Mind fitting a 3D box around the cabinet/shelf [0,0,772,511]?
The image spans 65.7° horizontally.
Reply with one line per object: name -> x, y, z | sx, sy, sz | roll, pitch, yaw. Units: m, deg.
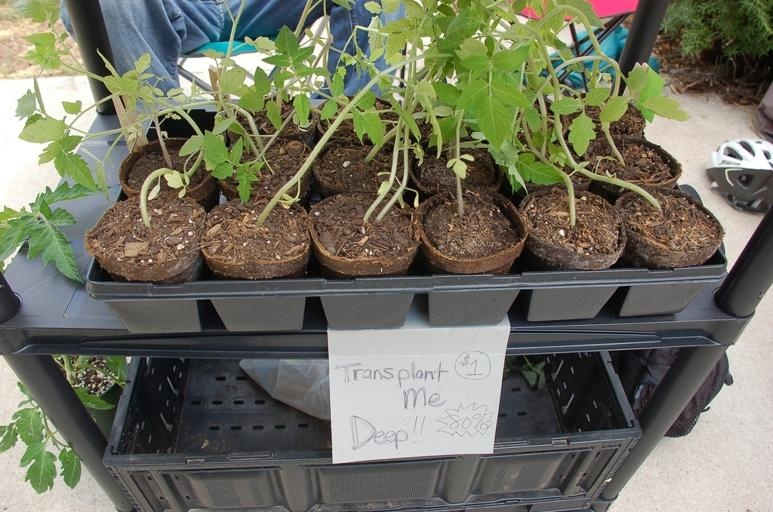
cabinet/shelf -> -0.017, -0.015, 2.297 | 1.566, 1.791, 1.817 | 1, 48, -1
